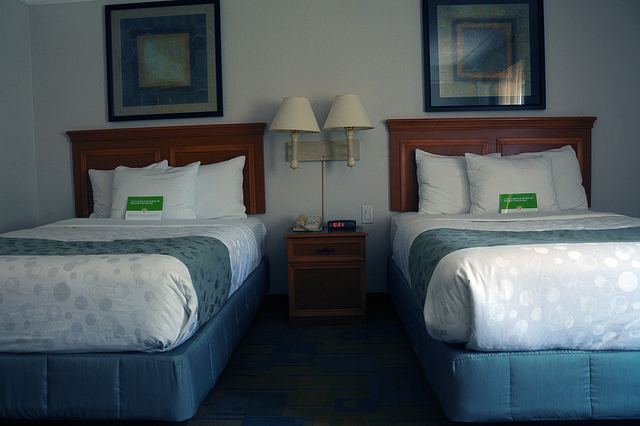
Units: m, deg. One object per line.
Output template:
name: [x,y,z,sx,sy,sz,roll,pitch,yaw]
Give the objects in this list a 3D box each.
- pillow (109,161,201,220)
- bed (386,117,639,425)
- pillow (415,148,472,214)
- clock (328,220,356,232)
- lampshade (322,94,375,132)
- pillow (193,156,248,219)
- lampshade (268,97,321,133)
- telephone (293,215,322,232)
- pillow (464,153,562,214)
pillow: [-1.436,-0.180,4.262,0.494,0.338,0.172,-1,-9,1]
bed: [1.380,0.149,3.874,1.767,1.633,2.510,-1,6,6]
pillow: [1.149,-0.274,4.414,0.643,0.659,0.233,9,28,43]
clock: [0.189,0.106,4.329,0.244,0.075,0.298,-1,5,4]
lampshade: [0.246,-0.899,4.405,0.538,0.296,0.481,-1,5,8]
pillow: [-0.906,-0.223,4.421,0.513,0.485,0.186,-6,-12,-7]
lampshade: [-0.223,-0.890,4.412,0.501,0.299,0.464,2,5,1]
telephone: [-0.082,0.082,4.336,0.222,0.127,0.306,2,6,29]
pillow: [1.628,-0.239,4.141,0.505,0.345,0.176,0,-4,1]
